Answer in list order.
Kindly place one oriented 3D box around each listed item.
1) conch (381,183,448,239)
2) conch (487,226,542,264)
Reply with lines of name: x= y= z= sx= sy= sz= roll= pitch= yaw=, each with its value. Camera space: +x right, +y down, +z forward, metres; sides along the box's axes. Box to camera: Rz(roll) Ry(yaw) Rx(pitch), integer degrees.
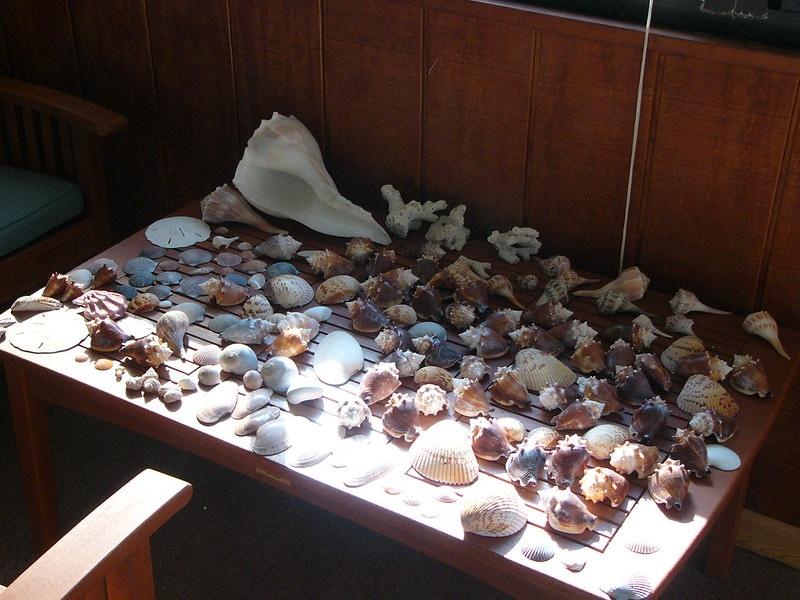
conch: x=0.028 y=-0.280 z=1.922 sx=0.193 sy=0.092 sz=0.186 roll=17 pitch=51 yaw=11
conch: x=0.358 y=-0.171 z=1.829 sx=0.145 sy=0.109 sz=0.065 roll=21 pitch=-8 yaw=15
